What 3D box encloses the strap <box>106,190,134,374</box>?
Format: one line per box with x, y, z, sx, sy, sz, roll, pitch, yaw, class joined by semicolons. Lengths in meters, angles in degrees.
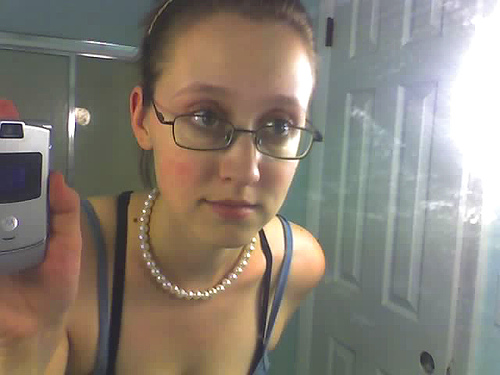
-0.362;0.266;1.407;0.041;0.607;0.041;6;2;14;strap

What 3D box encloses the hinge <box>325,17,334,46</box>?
0.283;-0.557;1.805;0.027;0.097;0.010;4;6;-6;hinge
